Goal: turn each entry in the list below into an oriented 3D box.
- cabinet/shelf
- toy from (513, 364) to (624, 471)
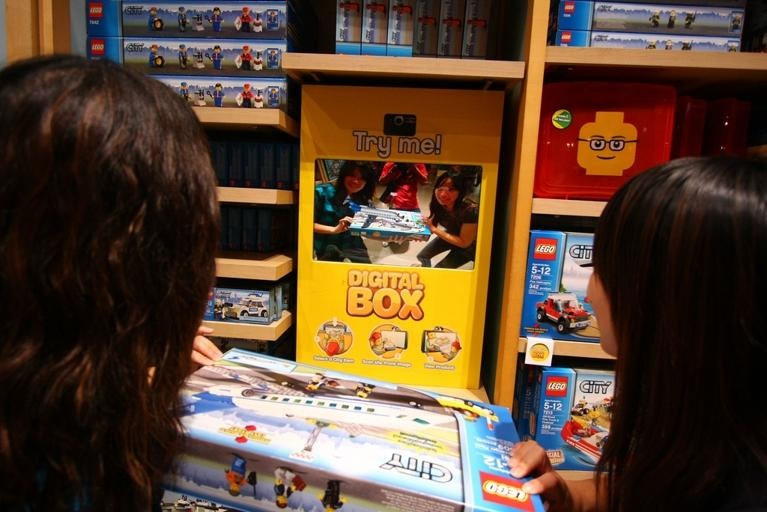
[{"bbox_3d":[0.246,-0.147,1.518,1.095,0.909,0.344,4,13,3],"label":"cabinet/shelf"},{"bbox_3d":[0.486,0.416,1.556,0.382,0.318,0.122,1,1,1],"label":"toy"}]
